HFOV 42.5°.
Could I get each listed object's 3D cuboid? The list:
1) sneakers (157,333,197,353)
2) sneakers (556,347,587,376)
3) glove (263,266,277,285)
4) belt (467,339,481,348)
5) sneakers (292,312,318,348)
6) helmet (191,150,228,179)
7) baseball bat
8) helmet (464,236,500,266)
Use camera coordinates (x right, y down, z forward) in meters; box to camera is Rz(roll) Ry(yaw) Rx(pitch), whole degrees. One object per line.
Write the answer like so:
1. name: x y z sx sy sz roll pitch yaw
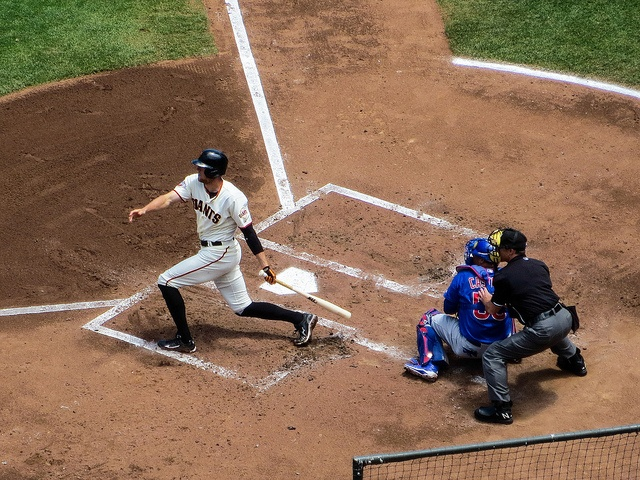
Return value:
1. sneakers: -1.860 1.401 11.179 0.615 0.215 0.194 7 22 -3
2. sneakers: 3.327 1.594 10.827 0.233 0.202 0.493 -15 29 -15
3. glove: -0.667 0.461 10.846 0.248 0.107 0.182 42 -6 23
4. belt: 2.002 1.344 10.673 0.139 0.039 0.089 16 8 -11
5. sneakers: -0.251 1.221 11.378 0.316 0.495 0.244 20 1 -27
6. helmet: -1.357 -0.981 10.550 0.521 0.290 0.338 5 21 -4
7. baseball bat: -0.224 0.815 11.870 1.808 0.182 0.125 19 45 -12
8. helmet: 2.198 0.130 10.799 0.369 0.350 0.378 -4 40 -39
